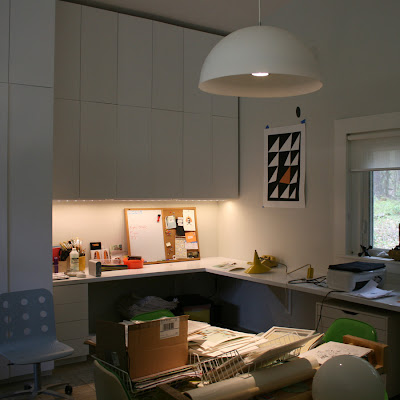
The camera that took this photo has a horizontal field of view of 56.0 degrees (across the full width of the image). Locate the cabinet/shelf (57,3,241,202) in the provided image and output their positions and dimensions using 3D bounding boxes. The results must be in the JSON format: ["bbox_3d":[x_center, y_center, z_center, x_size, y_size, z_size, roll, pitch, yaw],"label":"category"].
[{"bbox_3d":[-0.634,-1.042,3.956,1.723,1.866,0.579,2,-3,-31],"label":"cabinet/shelf"}]

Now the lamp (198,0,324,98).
[{"bbox_3d":[0.293,-0.625,1.700,0.574,0.304,0.505,-1,-2,-28],"label":"lamp"}]

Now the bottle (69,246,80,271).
[{"bbox_3d":[-1.316,0.632,3.936,0.092,0.249,0.147,-1,-2,-20],"label":"bottle"}]
